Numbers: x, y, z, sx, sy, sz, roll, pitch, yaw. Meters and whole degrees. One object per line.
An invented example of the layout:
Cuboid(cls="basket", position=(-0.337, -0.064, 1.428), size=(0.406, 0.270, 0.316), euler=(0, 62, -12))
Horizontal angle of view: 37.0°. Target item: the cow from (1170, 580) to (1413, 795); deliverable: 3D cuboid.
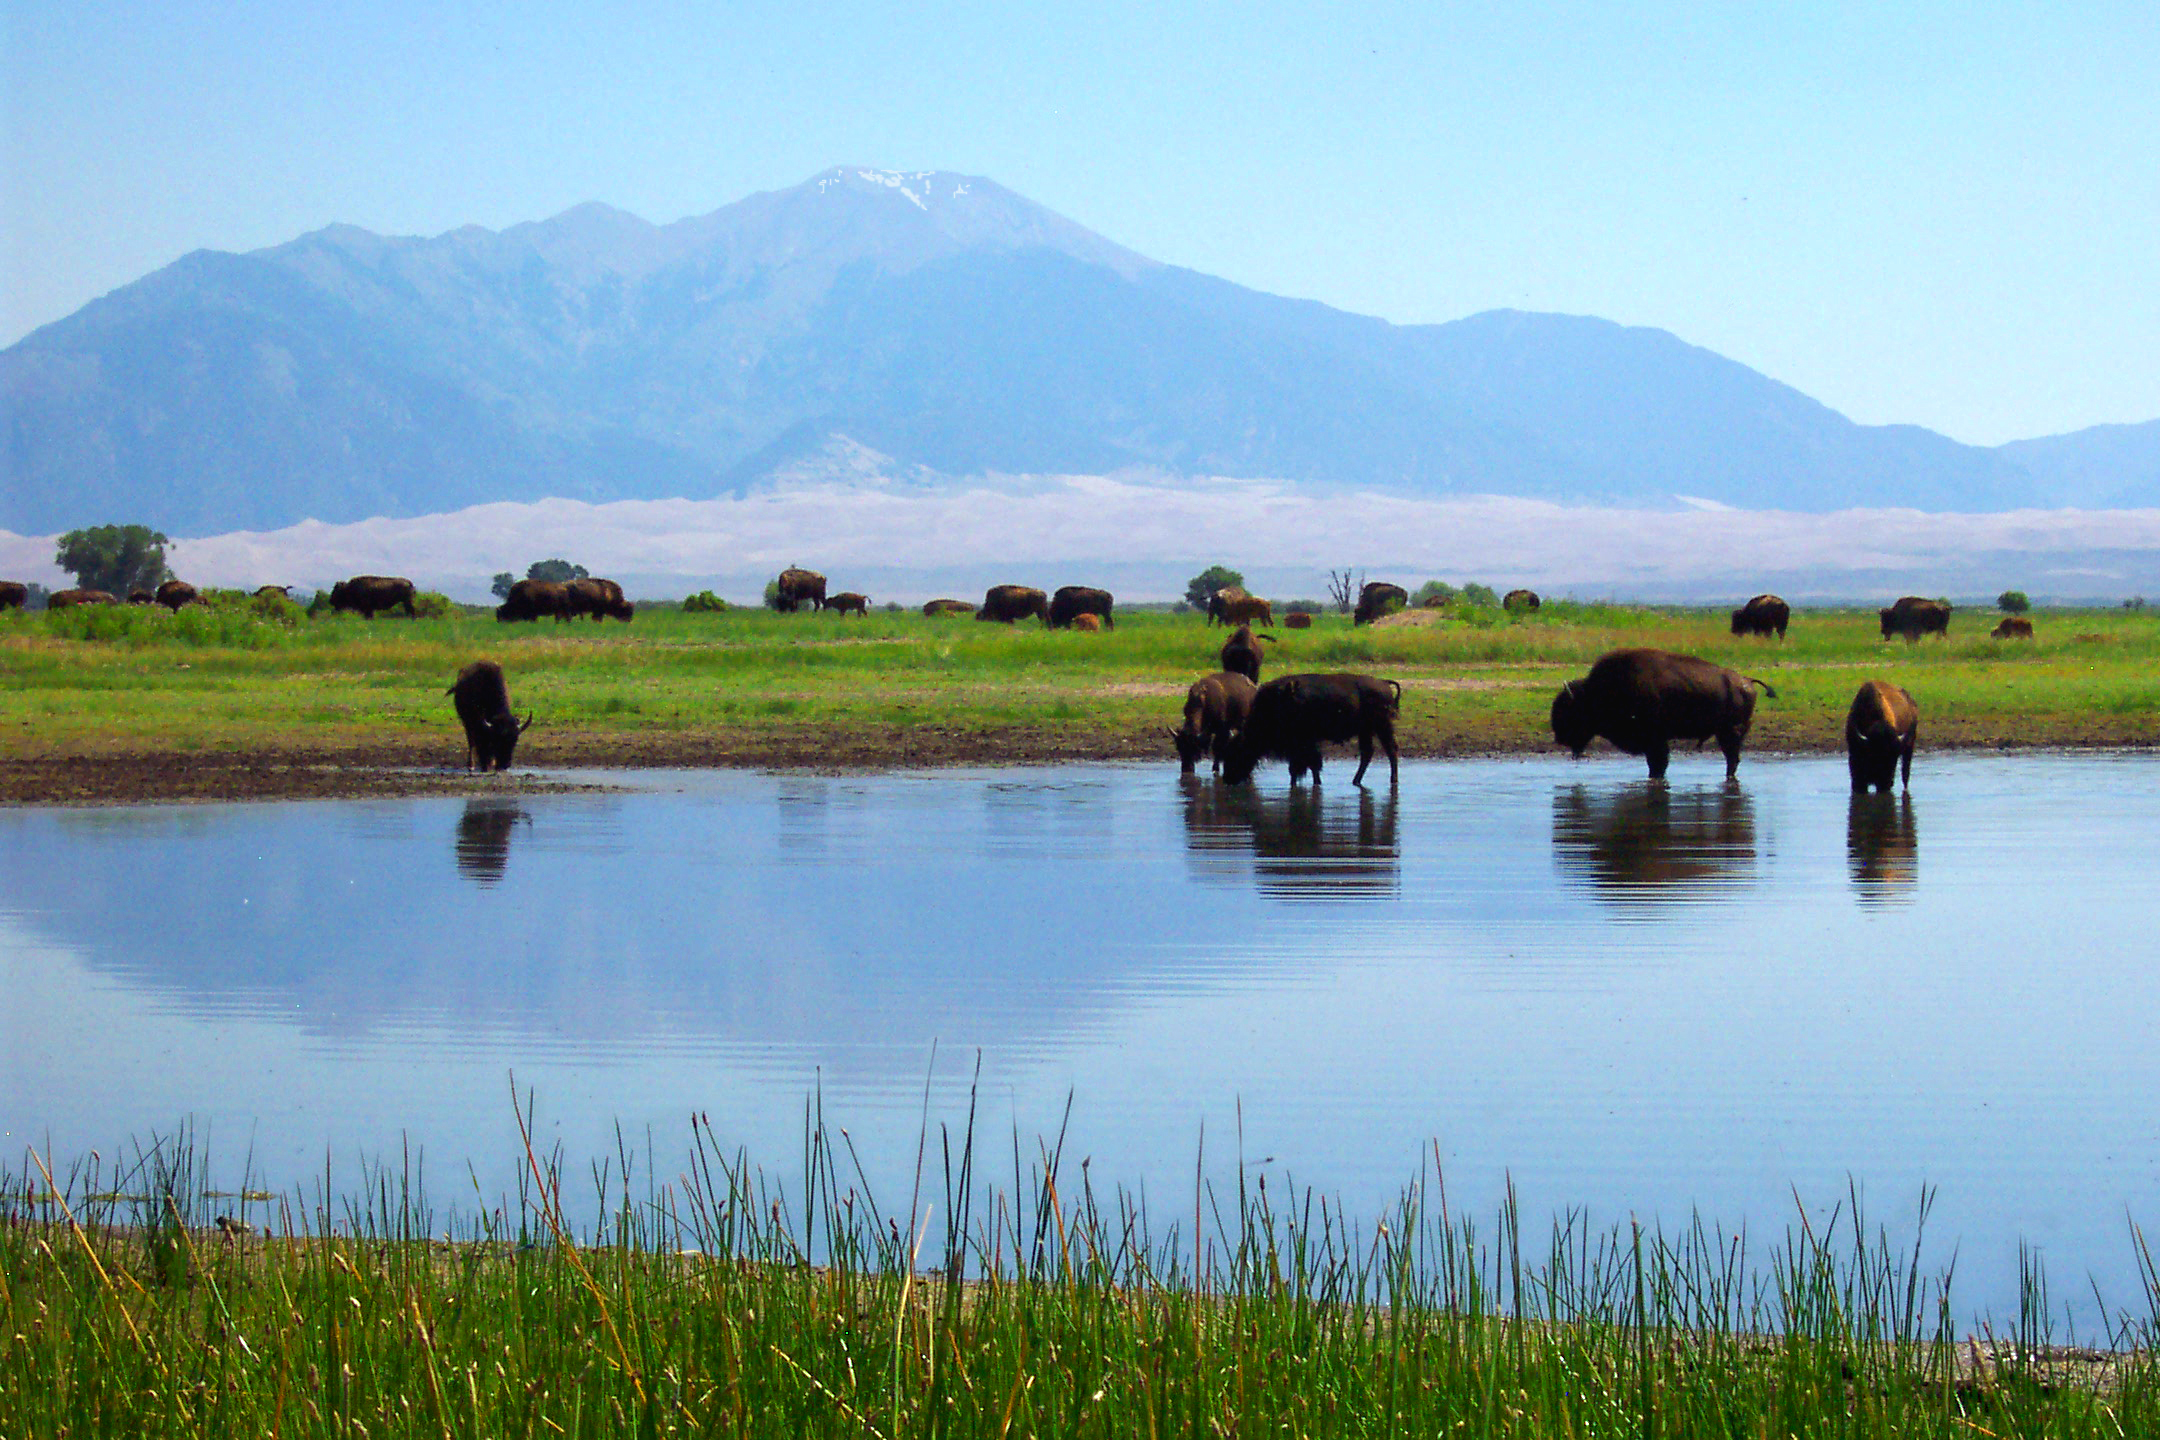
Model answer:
Cuboid(cls="cow", position=(3.465, 0.029, 43.207), size=(1.264, 2.553, 4.344), euler=(-6, -9, 44))

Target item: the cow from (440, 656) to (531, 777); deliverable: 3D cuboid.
Cuboid(cls="cow", position=(-7.607, -0.028, 41.982), size=(0.667, 1.373, 1.464), euler=(-4, 13, -21))

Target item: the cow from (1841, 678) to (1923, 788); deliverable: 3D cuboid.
Cuboid(cls="cow", position=(9.784, 0.218, 39.276), size=(0.745, 1.168, 1.231), euler=(3, 13, 11))

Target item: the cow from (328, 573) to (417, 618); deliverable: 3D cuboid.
Cuboid(cls="cow", position=(-20.334, -3.621, 93.910), size=(2.610, 1.050, 1.662), euler=(-6, 14, -26))
